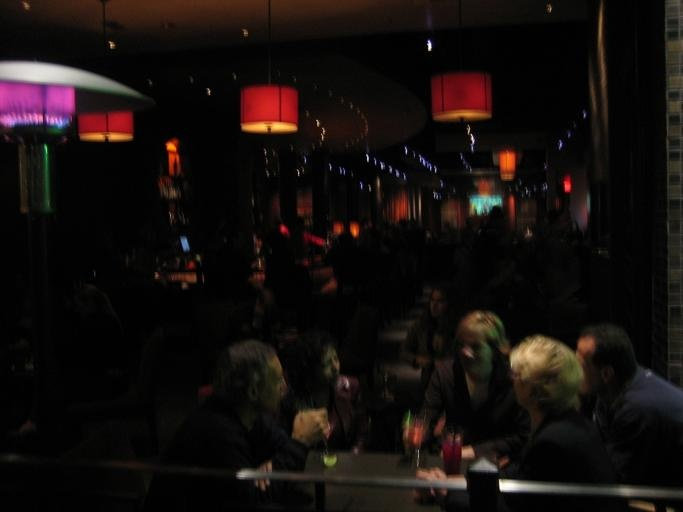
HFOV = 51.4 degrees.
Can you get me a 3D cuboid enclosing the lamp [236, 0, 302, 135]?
[{"bbox_3d":[-0.379,-0.985,3.733,0.314,0.683,0.128,0,2,-3],"label":"lamp"}]
